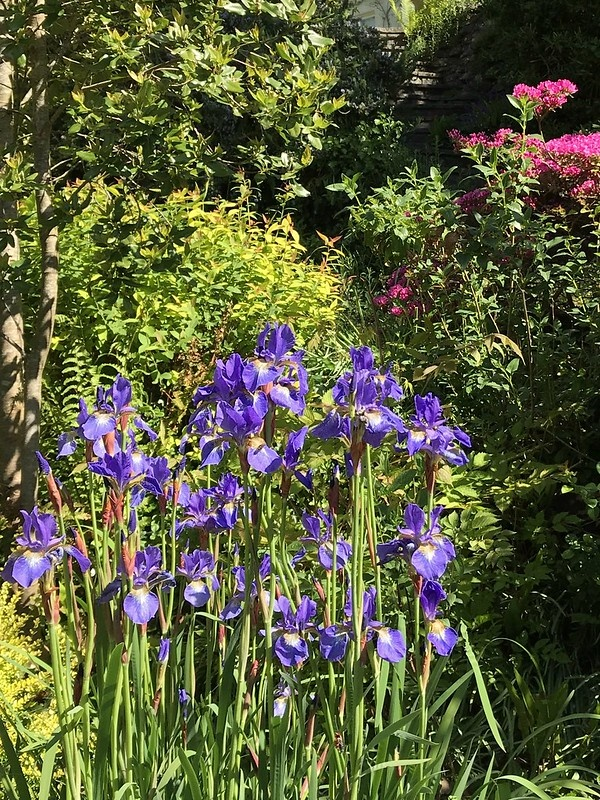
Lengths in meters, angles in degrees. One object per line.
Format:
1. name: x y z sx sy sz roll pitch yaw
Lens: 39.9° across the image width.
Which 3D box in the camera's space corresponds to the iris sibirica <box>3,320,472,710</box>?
1. iris sibirica: -0.032 0.335 1.309 0.497 0.273 0.691 3 -43 -5
